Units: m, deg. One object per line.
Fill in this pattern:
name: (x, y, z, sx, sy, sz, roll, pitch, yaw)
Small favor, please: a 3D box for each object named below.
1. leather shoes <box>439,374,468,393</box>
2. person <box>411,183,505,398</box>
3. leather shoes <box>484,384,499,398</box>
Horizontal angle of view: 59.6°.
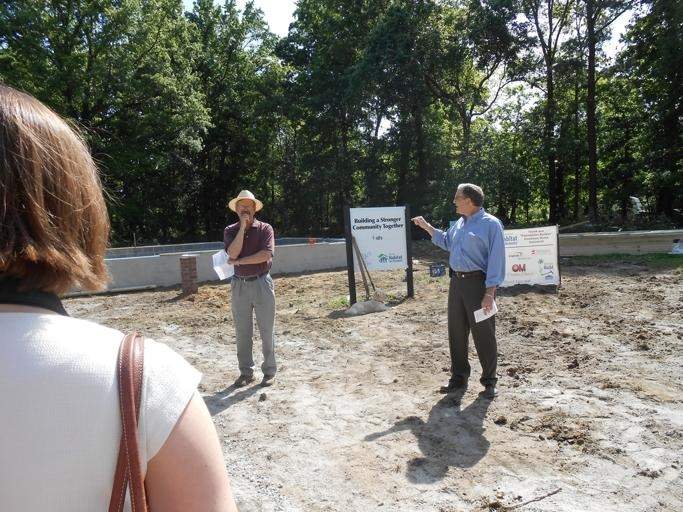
leather shoes: (1.210, 1.379, 6.408, 0.329, 0.174, 0.132, 2, -5, -23)
person: (1.328, 0.340, 6.316, 0.764, 2.150, 1.178, -1, 7, 9)
leather shoes: (1.519, 1.372, 6.094, 0.157, 0.109, 0.157, -2, 7, 10)
